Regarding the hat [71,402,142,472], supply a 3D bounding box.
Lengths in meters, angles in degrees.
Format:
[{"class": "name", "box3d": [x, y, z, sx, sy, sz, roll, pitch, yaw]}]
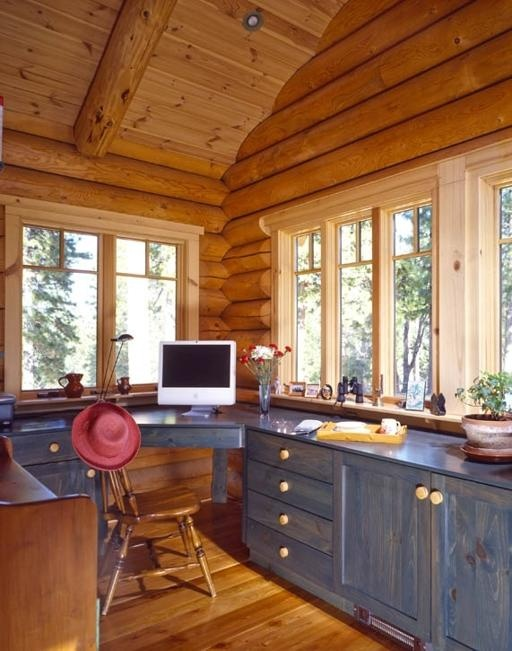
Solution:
[{"class": "hat", "box3d": [-0.672, 0.498, 2.360, 0.314, 0.312, 0.105, -12, 4, -30]}]

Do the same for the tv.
[{"class": "tv", "box3d": [-0.373, 0.319, 3.336, 0.488, 0.408, 0.149, -1, -10, 6]}]

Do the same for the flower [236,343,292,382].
[{"class": "flower", "box3d": [0.053, 0.219, 3.457, 0.312, 0.275, 0.315, 3, -10, -37]}]

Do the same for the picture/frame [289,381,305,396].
[{"class": "picture/frame", "box3d": [0.279, 0.433, 3.617, 0.099, 0.068, 0.011, -8, -26, 42]}]

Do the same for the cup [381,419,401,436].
[{"class": "cup", "box3d": [0.627, 0.480, 2.487, 0.084, 0.059, 0.054, 2, -1, 33]}]
